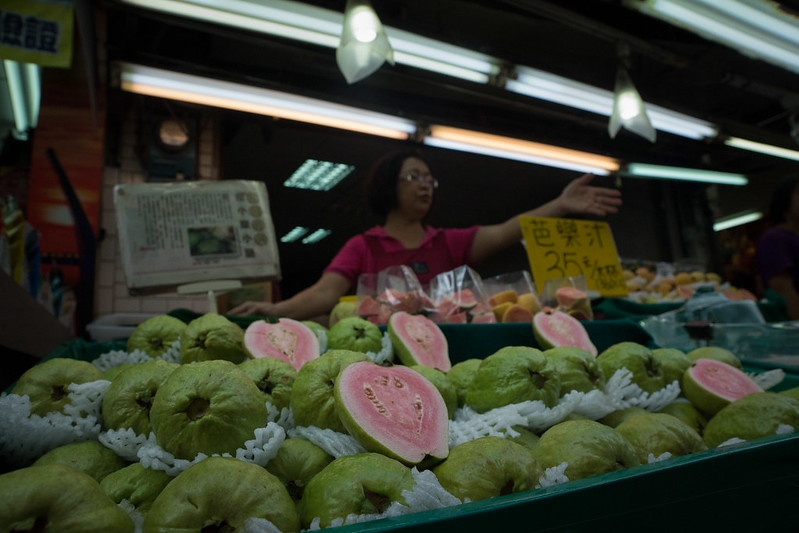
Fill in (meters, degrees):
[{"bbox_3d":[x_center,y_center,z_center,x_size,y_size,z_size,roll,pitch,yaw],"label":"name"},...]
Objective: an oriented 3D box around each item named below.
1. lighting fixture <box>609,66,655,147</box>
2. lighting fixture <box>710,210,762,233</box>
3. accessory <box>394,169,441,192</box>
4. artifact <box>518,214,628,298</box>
[{"bbox_3d":[1.631,-1.140,4.123,0.277,0.550,0.344,-8,-6,25],"label":"lighting fixture"},{"bbox_3d":[4.755,-0.630,8.201,0.883,0.211,0.227,-3,-6,-25],"label":"lighting fixture"},{"bbox_3d":[0.094,-0.588,3.875,0.147,0.045,0.149,11,-20,-36],"label":"accessory"},{"bbox_3d":[0.972,-0.047,3.204,0.620,0.474,0.143,-3,-6,-29],"label":"artifact"}]
